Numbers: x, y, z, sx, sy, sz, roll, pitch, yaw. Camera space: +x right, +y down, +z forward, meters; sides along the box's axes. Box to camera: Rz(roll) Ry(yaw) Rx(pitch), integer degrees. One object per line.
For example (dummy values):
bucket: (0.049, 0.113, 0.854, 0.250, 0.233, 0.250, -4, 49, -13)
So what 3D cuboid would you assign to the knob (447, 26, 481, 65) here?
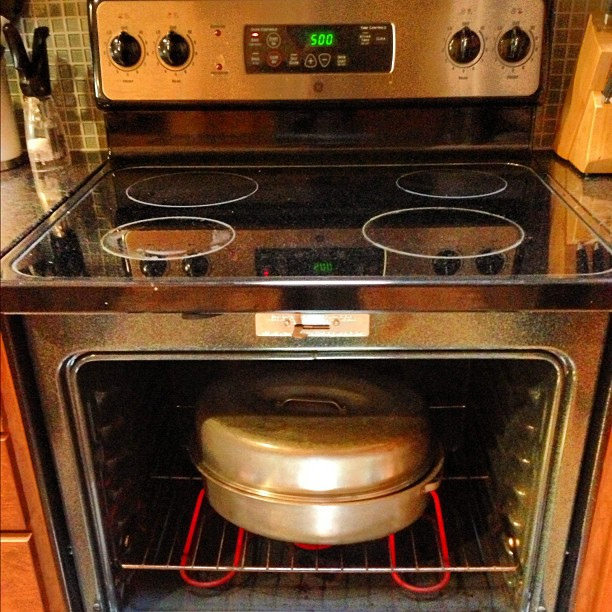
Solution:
knob: (0.290, -0.466, 1.105, 0.052, 0.055, 0.023, 0, 23, 6)

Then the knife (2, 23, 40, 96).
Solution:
knife: (-0.524, -0.446, 1.131, 0.031, 0.117, 0.053, 12, 22, 25)

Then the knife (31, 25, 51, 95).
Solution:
knife: (-0.493, -0.466, 1.175, 0.028, 0.130, 0.038, -2, -12, -1)

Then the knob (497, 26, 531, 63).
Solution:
knob: (0.378, -0.466, 1.113, 0.053, 0.053, 0.021, 1, 11, 5)

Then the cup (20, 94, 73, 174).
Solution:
cup: (-0.499, -0.333, 1.198, 0.081, 0.140, 0.070, -11, 23, -32)
